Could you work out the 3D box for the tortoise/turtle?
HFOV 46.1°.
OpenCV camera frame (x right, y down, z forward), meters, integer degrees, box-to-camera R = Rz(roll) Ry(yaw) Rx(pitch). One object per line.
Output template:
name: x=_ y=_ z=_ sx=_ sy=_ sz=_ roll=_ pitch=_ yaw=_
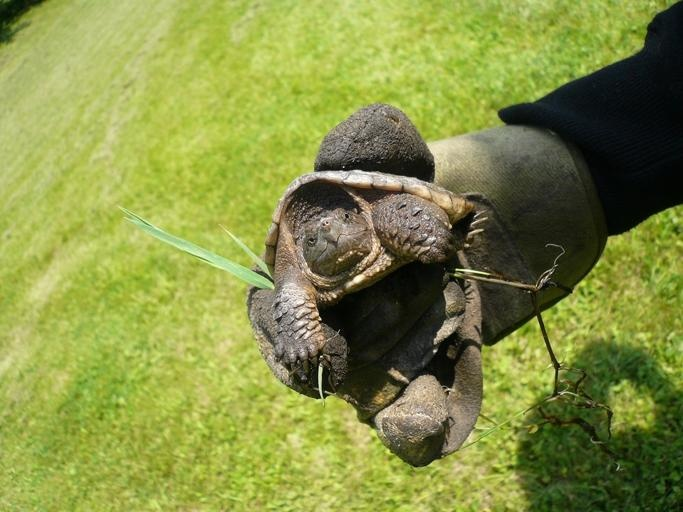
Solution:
tortoise/turtle: x=0.094 y=-0.020 z=4.419 sx=1.316 sy=0.798 sz=0.713 roll=-38 pitch=51 yaw=4
